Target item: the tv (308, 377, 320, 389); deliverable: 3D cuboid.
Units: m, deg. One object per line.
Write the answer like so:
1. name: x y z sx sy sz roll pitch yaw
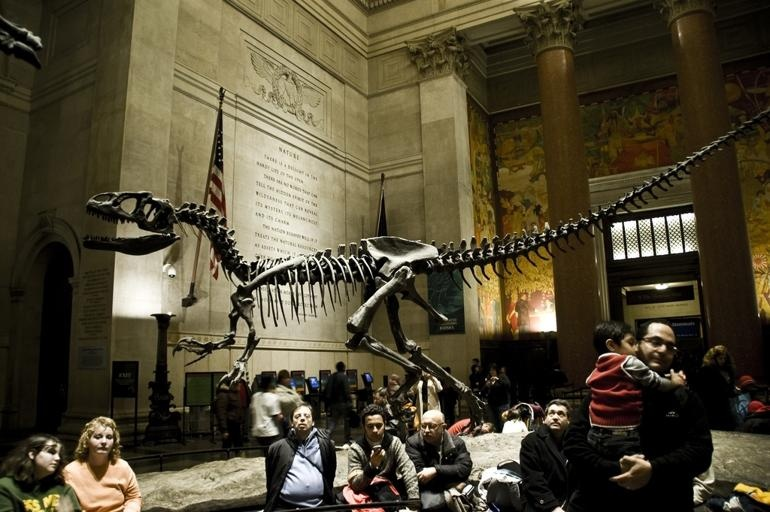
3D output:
1. tv: -1.534 2.734 12.526 0.063 0.223 0.241 -21 -11 28

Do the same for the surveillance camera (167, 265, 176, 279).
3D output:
1. surveillance camera: -3.980 0.300 10.900 0.199 0.212 0.187 13 -27 -38

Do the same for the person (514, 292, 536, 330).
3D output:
1. person: 4.168 1.782 17.559 0.490 1.425 0.432 -5 20 8

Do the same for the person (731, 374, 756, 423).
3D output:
1. person: 5.536 2.146 8.967 0.350 0.428 1.125 -2 26 32

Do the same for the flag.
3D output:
1. flag: -3.323 -1.381 11.364 0.363 3.742 1.018 1 -12 -17

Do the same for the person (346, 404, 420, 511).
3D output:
1. person: -0.056 2.070 6.158 0.810 0.966 0.302 -2 -11 -2
